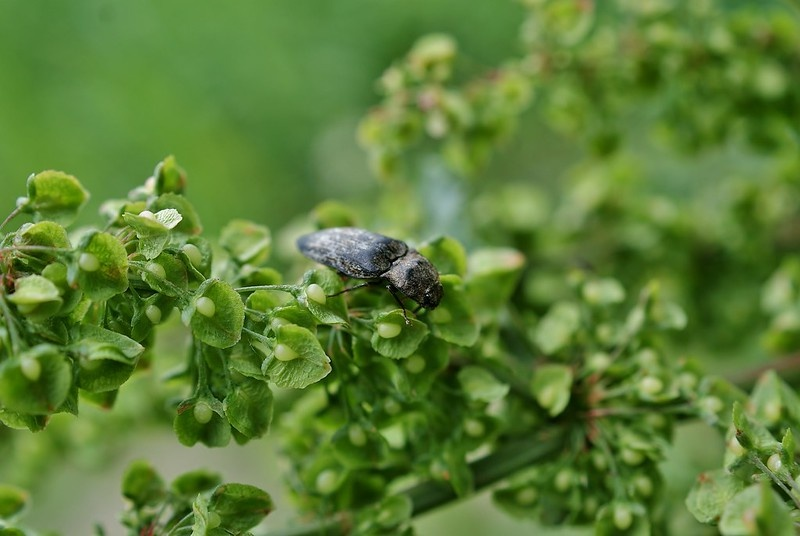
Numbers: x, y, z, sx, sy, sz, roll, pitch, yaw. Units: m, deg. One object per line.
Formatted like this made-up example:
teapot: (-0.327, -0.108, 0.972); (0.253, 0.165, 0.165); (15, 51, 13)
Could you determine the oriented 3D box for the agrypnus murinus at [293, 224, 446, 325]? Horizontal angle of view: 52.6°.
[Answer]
agrypnus murinus: (-0.053, -0.004, 1.423); (0.282, 0.096, 0.185); (20, 24, 26)
